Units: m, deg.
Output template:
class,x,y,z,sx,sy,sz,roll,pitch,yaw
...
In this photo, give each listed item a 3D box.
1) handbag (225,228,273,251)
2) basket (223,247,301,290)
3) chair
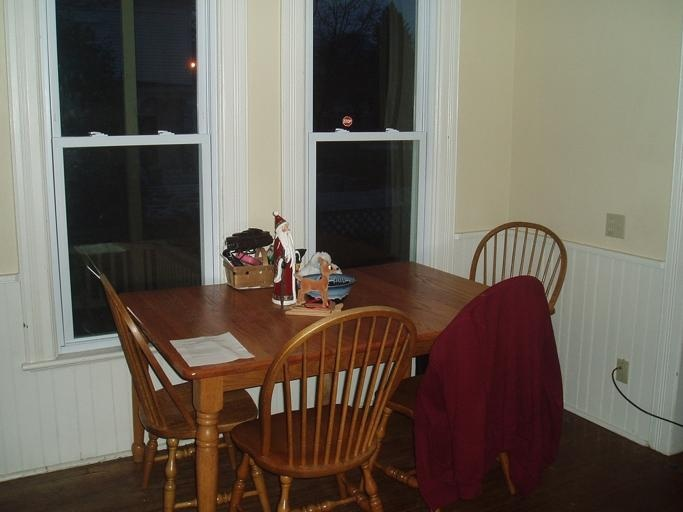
class,x,y,z,sx,sy,sz,roll,pitch,yaw
handbag,-0.463,-0.082,2.839,0.163,0.067,0.117,-7,11,-35
basket,-0.414,0.039,2.848,0.308,0.121,0.202,-2,8,-31
chair,0.171,0.553,3.006,2.079,1.406,1.192,-4,11,-27
